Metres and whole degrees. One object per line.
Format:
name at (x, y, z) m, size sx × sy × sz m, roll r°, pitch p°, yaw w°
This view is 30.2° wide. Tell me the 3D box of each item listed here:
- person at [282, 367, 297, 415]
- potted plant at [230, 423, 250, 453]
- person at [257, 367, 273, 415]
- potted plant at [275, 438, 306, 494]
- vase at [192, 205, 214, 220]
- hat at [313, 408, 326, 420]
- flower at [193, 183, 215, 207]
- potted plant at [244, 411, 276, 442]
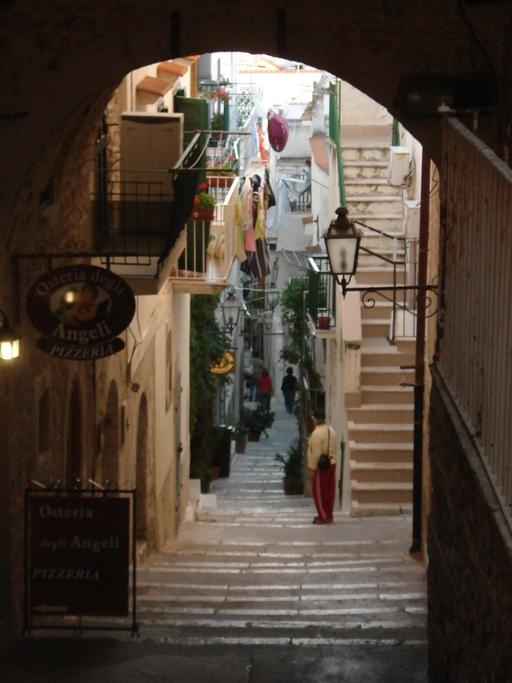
person at (1.154, 1.740, 32.658) m, size 0.385 × 1.651 × 0.345 m, roll -2°, pitch -27°, yaw 9°
potted plant at (-0.478, 2.594, 26.157) m, size 0.445 × 0.984 × 0.539 m, roll -3°, pitch 7°, yaw -22°
person at (0.288, 1.599, 31.888) m, size 0.336 × 1.645 × 0.421 m, roll -3°, pitch 23°, yaw -5°
potted plant at (0.773, 2.616, 20.004) m, size 0.627 × 1.377 × 0.745 m, roll -1°, pitch 2°, yaw 10°
vase at (-0.654, -1.527, 11.441) m, size 0.260 × 0.147 × 0.229 m, roll -2°, pitch 2°, yaw 0°
hat at (0.743, 0.851, 11.160) m, size 0.088 × 0.180 × 0.144 m, roll 3°, pitch -5°, yaw -3°
flower at (-0.640, -1.792, 11.720) m, size 0.224 × 0.385 × 0.852 m, roll -1°, pitch 2°, yaw -3°
potted plant at (0.051, 2.419, 28.423) m, size 0.764 × 1.119 × 0.694 m, roll 15°, pitch 19°, yaw 40°
